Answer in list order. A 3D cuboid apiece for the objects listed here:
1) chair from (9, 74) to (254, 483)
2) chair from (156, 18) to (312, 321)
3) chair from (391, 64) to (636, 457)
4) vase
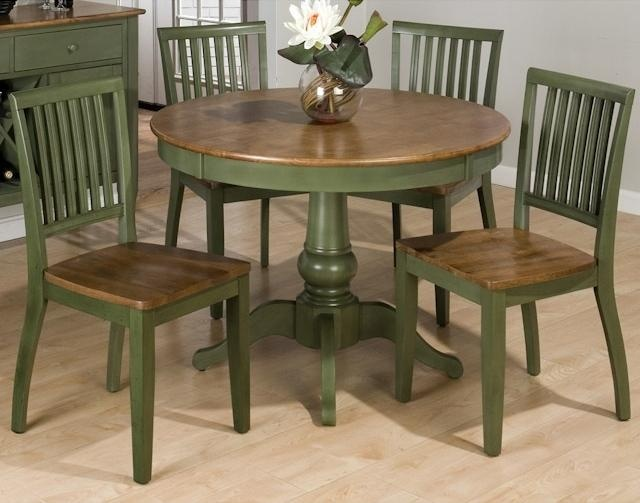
[{"bbox_3d":[-0.545,0.057,1.654,0.638,0.996,0.624,19,33,35],"label":"chair"},{"bbox_3d":[-0.228,-0.461,2.704,0.754,1.018,0.695,31,37,34],"label":"chair"},{"bbox_3d":[0.547,-0.003,1.797,0.656,1.014,0.725,-8,27,-14],"label":"chair"},{"bbox_3d":[0.032,-0.486,1.815,0.190,0.179,0.147,3,24,1],"label":"vase"}]
